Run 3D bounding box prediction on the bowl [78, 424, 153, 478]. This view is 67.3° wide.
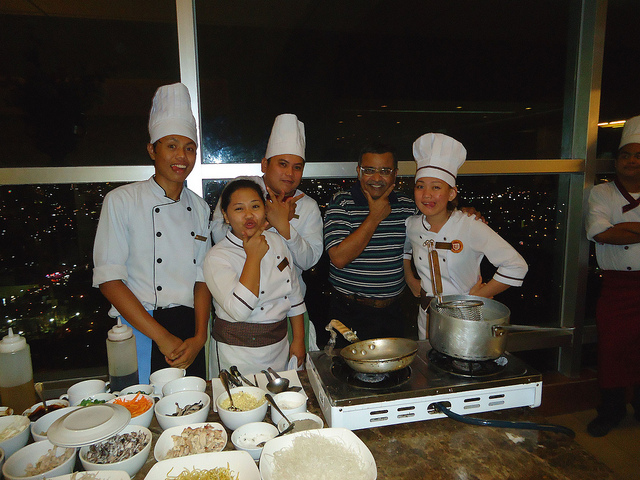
[{"bbox_3d":[-0.859,0.899,2.059,0.226,0.134,0.235,0,-5,0],"label":"bowl"}]

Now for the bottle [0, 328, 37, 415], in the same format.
[{"bbox_3d":[-1.451,0.623,2.281,0.142,0.406,0.106,-10,12,-34],"label":"bottle"}]

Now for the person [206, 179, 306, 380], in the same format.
[{"bbox_3d":[-0.386,0.230,2.862,0.626,1.169,0.456,-6,10,-17],"label":"person"}]

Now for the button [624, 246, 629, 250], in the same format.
[{"bbox_3d":[2.392,0.061,3.748,0.029,0.025,0.005,3,11,32],"label":"button"}]

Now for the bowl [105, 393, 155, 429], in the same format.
[{"bbox_3d":[-0.839,0.775,2.216,0.159,0.100,0.167,0,-3,0],"label":"bowl"}]

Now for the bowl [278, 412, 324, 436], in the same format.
[{"bbox_3d":[-0.090,0.824,2.175,0.200,0.060,0.089,-6,10,-13],"label":"bowl"}]

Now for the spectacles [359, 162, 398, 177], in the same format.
[{"bbox_3d":[0.376,-0.462,3.181,0.231,0.096,0.088,-2,10,7],"label":"spectacles"}]

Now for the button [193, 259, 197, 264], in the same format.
[{"bbox_3d":[-0.778,0.134,2.986,0.004,0.029,0.031,2,11,28],"label":"button"}]

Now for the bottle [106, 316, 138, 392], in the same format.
[{"bbox_3d":[-1.008,0.584,2.418,0.151,0.359,0.103,0,10,21],"label":"bottle"}]

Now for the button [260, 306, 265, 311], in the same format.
[{"bbox_3d":[-0.339,0.397,2.786,0.023,0.025,0.006,1,-7,-11],"label":"button"}]

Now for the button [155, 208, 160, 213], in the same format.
[{"bbox_3d":[-0.975,-0.177,2.874,0.026,0.027,0.007,-10,12,-36],"label":"button"}]

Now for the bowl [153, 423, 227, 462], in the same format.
[{"bbox_3d":[-0.558,0.878,2.077,0.357,0.075,0.304,3,8,-21],"label":"bowl"}]

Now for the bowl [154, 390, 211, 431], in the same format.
[{"bbox_3d":[-0.617,0.750,2.269,0.281,0.141,0.259,2,10,0],"label":"bowl"}]

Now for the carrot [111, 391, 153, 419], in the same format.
[{"bbox_3d":[-0.851,0.748,2.171,0.105,0.048,0.109,2,2,-4],"label":"carrot"}]

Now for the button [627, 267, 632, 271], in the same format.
[{"bbox_3d":[2.417,0.222,3.755,0.024,0.027,0.006,0,-7,28],"label":"button"}]

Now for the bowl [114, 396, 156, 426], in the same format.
[{"bbox_3d":[-0.844,0.766,2.195,0.156,0.098,0.163,2,2,0],"label":"bowl"}]

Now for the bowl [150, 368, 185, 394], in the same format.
[{"bbox_3d":[-0.783,0.704,2.434,0.122,0.091,0.097,2,1,-36],"label":"bowl"}]

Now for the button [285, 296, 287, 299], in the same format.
[{"bbox_3d":[-0.204,0.344,2.880,0.007,0.018,0.021,1,11,25],"label":"button"}]

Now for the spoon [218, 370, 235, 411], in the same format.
[{"bbox_3d":[-0.445,0.709,2.293,0.048,0.210,0.028,-16,-24,-13],"label":"spoon"}]

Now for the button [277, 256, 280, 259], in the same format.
[{"bbox_3d":[-0.251,0.105,2.890,0.009,0.014,0.023,-1,10,15],"label":"button"}]

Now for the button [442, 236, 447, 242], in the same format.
[{"bbox_3d":[0.790,-0.007,3.051,0.019,0.028,0.008,5,-10,17],"label":"button"}]

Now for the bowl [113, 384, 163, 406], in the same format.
[{"bbox_3d":[-0.876,0.731,2.332,0.151,0.065,0.105,4,17,1],"label":"bowl"}]

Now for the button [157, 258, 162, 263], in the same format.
[{"bbox_3d":[-0.964,0.122,2.874,0.027,0.029,0.006,4,-5,-17],"label":"button"}]

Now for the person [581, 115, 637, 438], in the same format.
[{"bbox_3d":[2.303,0.299,3.847,0.320,2.493,0.684,2,11,29],"label":"person"}]

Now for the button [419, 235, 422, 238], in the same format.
[{"bbox_3d":[0.661,-0.023,3.159,0.012,0.018,0.005,0,8,14],"label":"button"}]

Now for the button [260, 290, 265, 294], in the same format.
[{"bbox_3d":[-0.335,0.301,2.788,0.015,0.020,0.004,6,-13,-8],"label":"button"}]

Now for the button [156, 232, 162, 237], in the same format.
[{"bbox_3d":[-0.968,-0.034,2.875,0.027,0.030,0.007,1,-1,-21],"label":"button"}]

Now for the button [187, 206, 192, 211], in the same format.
[{"bbox_3d":[-0.818,-0.195,2.996,0.026,0.027,0.005,-1,-8,-27],"label":"button"}]

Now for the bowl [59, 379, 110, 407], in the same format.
[{"bbox_3d":[-1.139,0.713,2.314,0.156,0.081,0.116,-1,4,-29],"label":"bowl"}]

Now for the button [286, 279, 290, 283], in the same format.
[{"bbox_3d":[-0.190,0.244,2.890,0.004,0.015,0.015,6,13,43],"label":"button"}]

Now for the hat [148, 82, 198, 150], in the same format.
[{"bbox_3d":[-0.897,-0.759,2.890,0.271,0.358,0.205,-6,10,-16],"label":"hat"}]

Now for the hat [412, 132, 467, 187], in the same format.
[{"bbox_3d":[0.763,-0.516,3.118,0.325,0.334,0.252,5,15,-2],"label":"hat"}]

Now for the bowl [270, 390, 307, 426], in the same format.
[{"bbox_3d":[-0.145,0.773,2.264,0.129,0.076,0.134,1,7,0],"label":"bowl"}]
